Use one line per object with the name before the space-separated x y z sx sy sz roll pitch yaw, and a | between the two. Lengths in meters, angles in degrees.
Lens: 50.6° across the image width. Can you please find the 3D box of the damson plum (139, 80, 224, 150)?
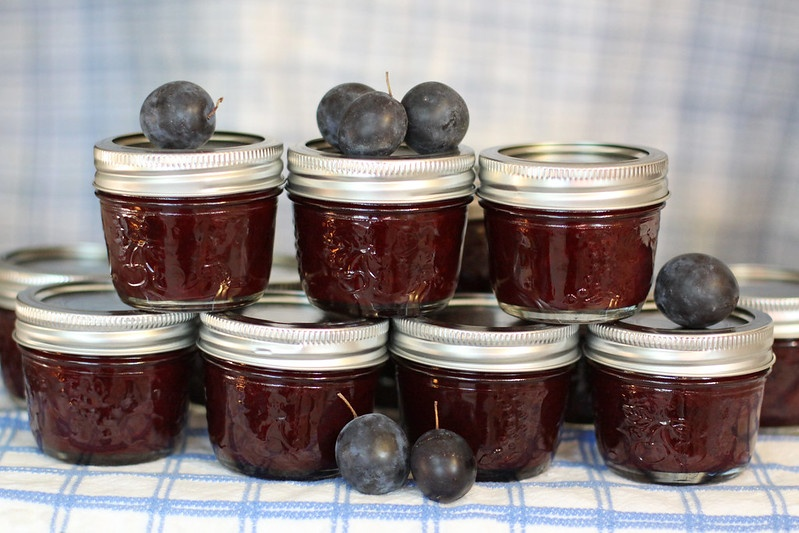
damson plum | -0.405 -0.276 1.580 0.157 0.118 0.132 11 20 43

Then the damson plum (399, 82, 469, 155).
damson plum | 0.067 -0.281 1.611 0.131 0.137 0.124 -11 32 -24

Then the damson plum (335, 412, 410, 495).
damson plum | -0.039 0.334 1.580 0.149 0.129 0.162 -1 9 -16

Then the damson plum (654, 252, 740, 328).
damson plum | 0.579 0.046 1.632 0.151 0.136 0.179 -10 13 -39

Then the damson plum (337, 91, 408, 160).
damson plum | -0.045 -0.255 1.538 0.128 0.110 0.079 -3 23 -7

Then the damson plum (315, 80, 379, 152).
damson plum | -0.115 -0.280 1.597 0.128 0.134 0.119 1 2 10
